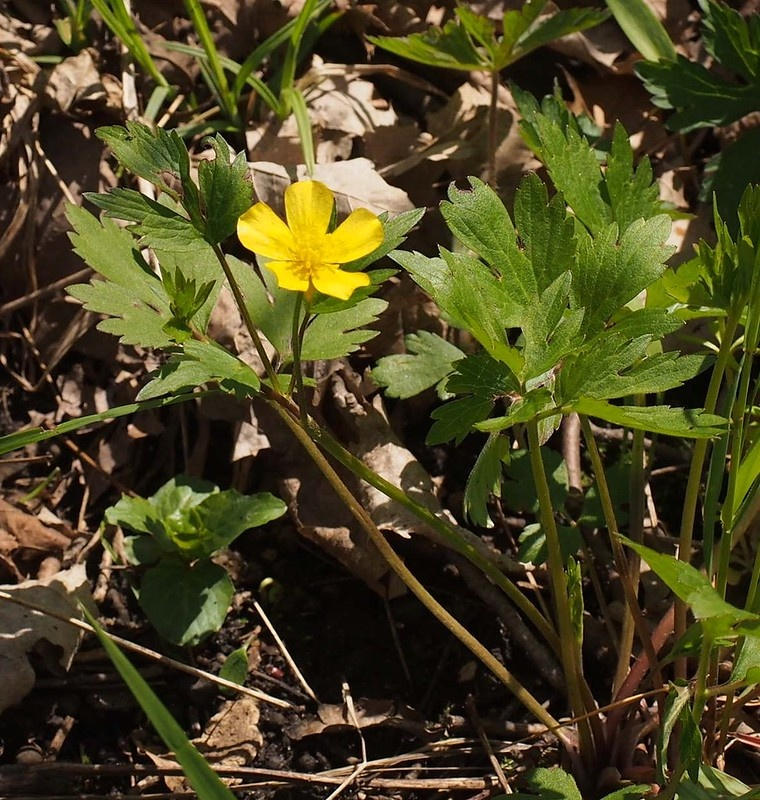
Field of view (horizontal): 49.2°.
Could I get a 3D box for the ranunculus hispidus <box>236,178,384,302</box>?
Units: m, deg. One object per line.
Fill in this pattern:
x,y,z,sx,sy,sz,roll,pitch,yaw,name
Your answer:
-0.136,-0.314,1.748,0.291,0.221,0.311,-11,37,-15,ranunculus hispidus
